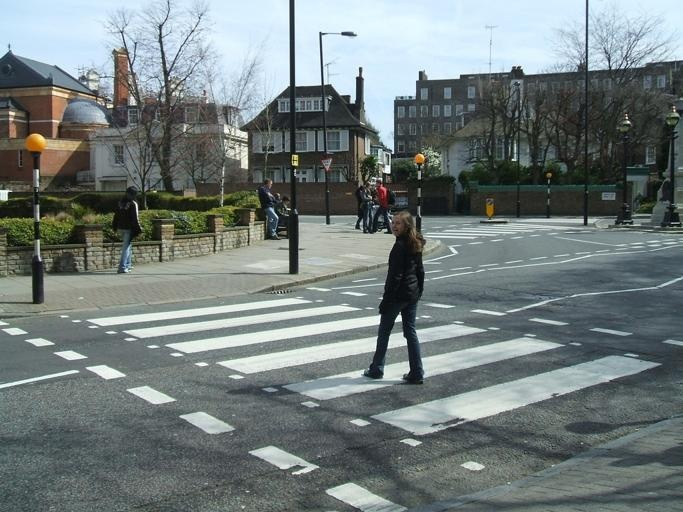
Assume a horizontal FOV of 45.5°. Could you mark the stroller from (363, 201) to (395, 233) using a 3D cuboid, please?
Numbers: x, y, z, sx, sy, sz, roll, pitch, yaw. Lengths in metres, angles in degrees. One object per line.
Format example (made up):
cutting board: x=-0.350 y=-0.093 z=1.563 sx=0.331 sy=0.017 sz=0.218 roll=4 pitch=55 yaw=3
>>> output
stroller: x=1.309 y=-1.359 z=30.257 sx=0.808 sy=0.817 sz=1.426 roll=0 pitch=11 yaw=3

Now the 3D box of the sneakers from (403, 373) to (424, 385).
sneakers: x=0.932 y=1.562 z=10.433 sx=0.258 sy=0.113 sz=0.191 roll=1 pitch=13 yaw=4

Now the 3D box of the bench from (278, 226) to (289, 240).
bench: x=-1.969 y=-0.776 z=27.478 sx=0.472 sy=0.407 sz=0.446 roll=-1 pitch=-1 yaw=-4

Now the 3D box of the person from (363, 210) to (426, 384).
person: x=0.735 y=0.508 z=10.598 sx=0.719 sy=2.105 sz=0.924 roll=1 pitch=14 yaw=5

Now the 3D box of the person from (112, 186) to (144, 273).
person: x=-4.972 y=-0.587 z=18.882 sx=0.636 sy=2.001 sz=1.376 roll=-4 pitch=14 yaw=-15
